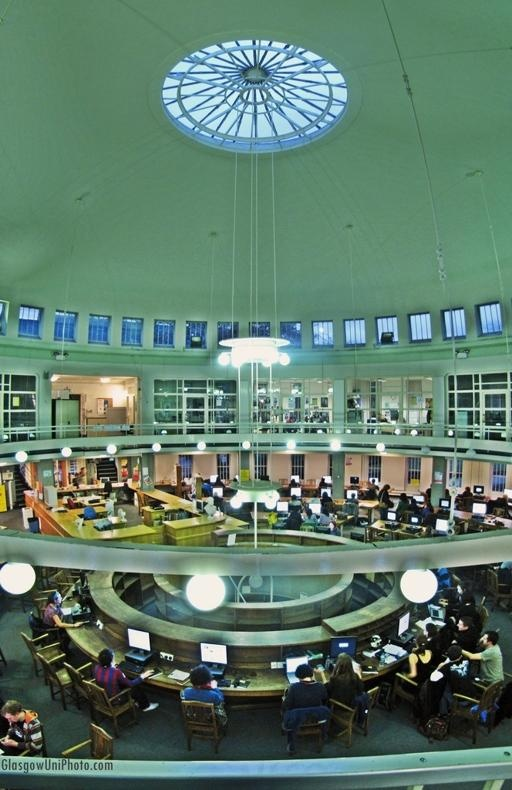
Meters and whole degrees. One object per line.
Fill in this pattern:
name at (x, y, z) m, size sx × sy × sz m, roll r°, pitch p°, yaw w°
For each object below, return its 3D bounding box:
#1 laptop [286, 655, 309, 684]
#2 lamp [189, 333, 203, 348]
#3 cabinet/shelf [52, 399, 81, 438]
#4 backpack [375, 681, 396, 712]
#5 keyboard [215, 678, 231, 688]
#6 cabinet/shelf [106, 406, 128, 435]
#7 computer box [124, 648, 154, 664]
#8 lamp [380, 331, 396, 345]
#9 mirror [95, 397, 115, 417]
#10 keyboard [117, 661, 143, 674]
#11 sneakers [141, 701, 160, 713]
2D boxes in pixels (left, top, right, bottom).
laptop at (0.586, 3.752, 7.983) m, size 0.313 × 0.253 × 0.305 m, roll -2°, pitch 4°, yaw -5°
lamp at (-2.181, -1.981, 21.878) m, size 0.502 × 0.494 × 0.617 m, roll -2°, pitch 4°, yaw -6°
cabinet/shelf at (-7.162, 0.859, 22.120) m, size 1.035 × 1.342 × 4.685 m, roll -2°, pitch 4°, yaw -17°
backpack at (1.844, 4.221, 8.176) m, size 0.264 × 0.371 × 0.158 m, roll -2°, pitch 3°, yaw -14°
keyboard at (-0.422, 3.875, 7.822) m, size 0.193 × 0.034 × 0.175 m, roll -1°, pitch 4°, yaw -1°
cabinet/shelf at (-5.791, 1.007, 24.233) m, size 0.817 × 0.886 × 1.613 m, roll -4°, pitch 29°, yaw -12°
computer box at (-1.680, 3.810, 8.498) m, size 0.263 × 0.185 × 0.190 m, roll 5°, pitch 12°, yaw 27°
lamp at (4.551, -1.936, 20.050) m, size 0.524 × 0.478 × 0.523 m, roll 0°, pitch 4°, yaw 21°
mirror at (-6.636, 0.536, 25.471) m, size 0.853 × 1.007 × 0.068 m, roll 0°, pitch -3°, yaw -43°
keyboard at (-1.772, 3.864, 8.229) m, size 0.440 × 0.047 × 0.198 m, roll 1°, pitch 4°, yaw 31°
sneakers at (-1.482, 4.421, 8.263) m, size 0.077 × 0.092 × 0.234 m, roll 13°, pitch 12°, yaw 41°
